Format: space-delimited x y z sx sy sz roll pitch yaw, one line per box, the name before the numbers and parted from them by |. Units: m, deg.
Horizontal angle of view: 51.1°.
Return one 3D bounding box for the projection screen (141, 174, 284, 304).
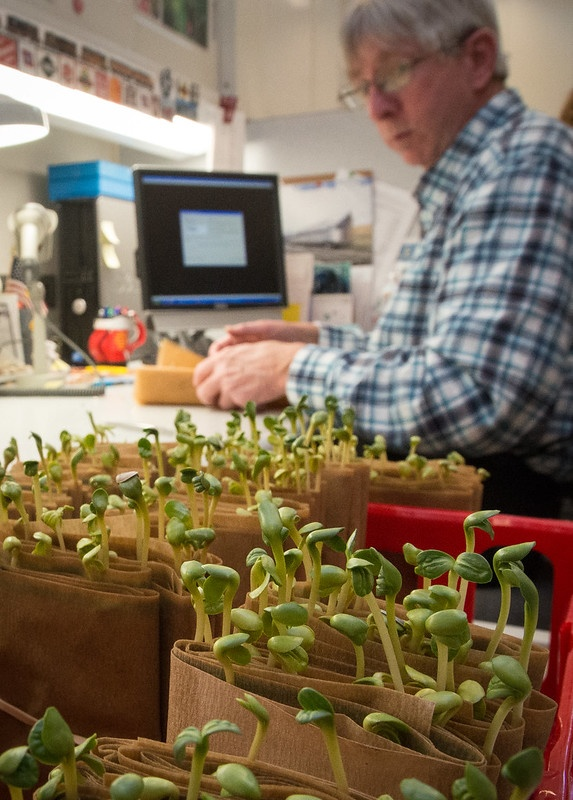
projection screen | -0.274 -0.557 2.075 0.522 0.428 0.054 0 -4 -30
